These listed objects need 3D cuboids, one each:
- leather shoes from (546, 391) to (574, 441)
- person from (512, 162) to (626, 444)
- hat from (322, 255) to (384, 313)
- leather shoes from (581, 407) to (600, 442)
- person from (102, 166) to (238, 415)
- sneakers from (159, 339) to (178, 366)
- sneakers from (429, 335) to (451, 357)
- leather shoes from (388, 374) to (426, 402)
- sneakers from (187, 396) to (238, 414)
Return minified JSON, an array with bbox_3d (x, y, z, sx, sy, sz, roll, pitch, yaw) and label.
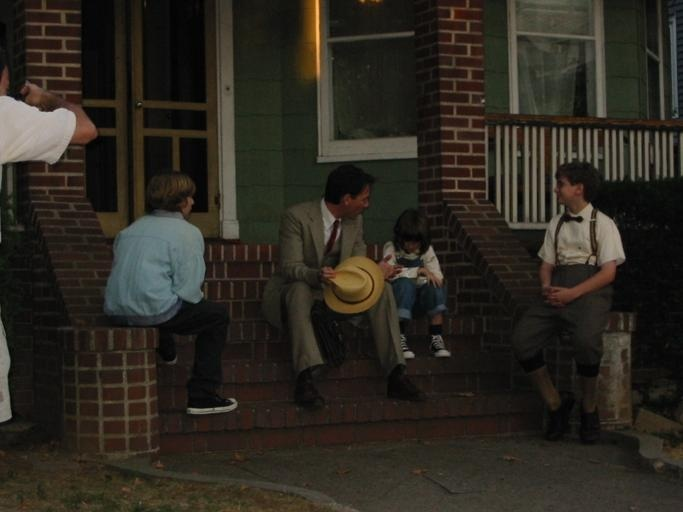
[{"bbox_3d":[1.819,1.348,10.464,0.156,0.375,0.132,30,-21,-21],"label":"leather shoes"},{"bbox_3d":[1.912,0.371,10.454,0.880,2.289,0.571,-1,6,16],"label":"person"},{"bbox_3d":[0.081,0.234,10.519,0.550,0.525,0.195,-21,-31,22],"label":"hat"},{"bbox_3d":[2.044,1.405,10.287,0.108,0.314,0.137,-4,-7,28],"label":"leather shoes"},{"bbox_3d":[-1.404,0.313,10.181,1.002,1.974,0.411,-3,6,-7],"label":"person"},{"bbox_3d":[-1.441,0.774,10.327,0.095,0.295,0.123,-1,-4,-1],"label":"sneakers"},{"bbox_3d":[0.869,0.791,11.006,0.175,0.193,0.258,-2,7,5],"label":"sneakers"},{"bbox_3d":[0.520,1.131,10.545,0.405,0.193,0.147,0,2,40],"label":"leather shoes"},{"bbox_3d":[-1.052,1.215,10.216,0.390,0.167,0.156,-2,3,-17],"label":"sneakers"}]
